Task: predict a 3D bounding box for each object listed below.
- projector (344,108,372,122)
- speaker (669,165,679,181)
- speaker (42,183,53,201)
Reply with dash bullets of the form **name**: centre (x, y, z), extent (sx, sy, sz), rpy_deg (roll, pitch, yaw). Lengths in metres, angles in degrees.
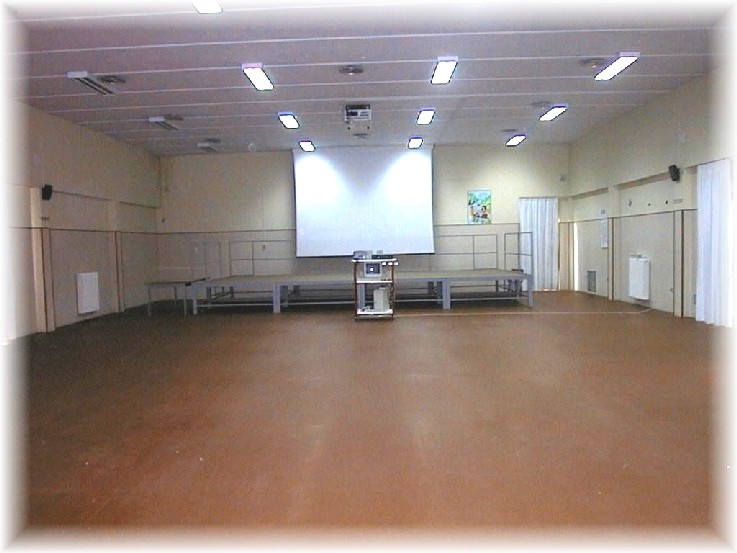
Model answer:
- **projector**: centre (-0.092, -1.464, 4.806), extent (0.242, 0.143, 0.206), rpy_deg (-2, 5, -8)
- **speaker**: centre (2.666, -0.898, 4.611), extent (0.089, 0.148, 0.241), rpy_deg (1, 5, 27)
- **speaker**: centre (-2.593, -0.686, 4.276), extent (0.062, 0.139, 0.226), rpy_deg (-3, 5, -19)
